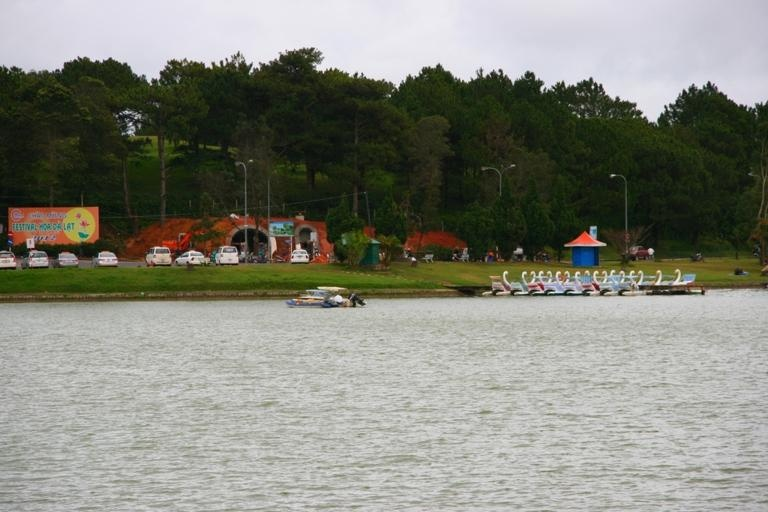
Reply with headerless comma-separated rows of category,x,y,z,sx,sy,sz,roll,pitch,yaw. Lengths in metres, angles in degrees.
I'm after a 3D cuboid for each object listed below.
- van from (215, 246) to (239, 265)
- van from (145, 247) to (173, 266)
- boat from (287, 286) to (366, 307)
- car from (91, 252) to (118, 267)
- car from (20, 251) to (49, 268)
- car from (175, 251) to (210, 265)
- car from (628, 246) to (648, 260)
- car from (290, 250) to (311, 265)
van,-21.558,-0.081,200.462,1.976,1.700,3.279,-2,9,-14
van,-30.618,0.113,199.407,2.174,1.787,3.506,-2,6,-21
boat,-7.262,4.958,179.128,9.081,2.509,6.808,1,1,-15
car,-37.756,0.477,197.322,3.645,1.764,1.559,2,1,35
car,-46.253,0.536,195.330,2.513,2.129,7.906,0,1,-20
car,-26.091,0.479,196.922,2.016,1.435,4.365,-4,6,-30
car,41.836,-0.454,240.123,2.196,1.767,3.633,-3,-5,42
car,-11.702,0.115,202.682,2.334,1.853,2.513,1,1,0
